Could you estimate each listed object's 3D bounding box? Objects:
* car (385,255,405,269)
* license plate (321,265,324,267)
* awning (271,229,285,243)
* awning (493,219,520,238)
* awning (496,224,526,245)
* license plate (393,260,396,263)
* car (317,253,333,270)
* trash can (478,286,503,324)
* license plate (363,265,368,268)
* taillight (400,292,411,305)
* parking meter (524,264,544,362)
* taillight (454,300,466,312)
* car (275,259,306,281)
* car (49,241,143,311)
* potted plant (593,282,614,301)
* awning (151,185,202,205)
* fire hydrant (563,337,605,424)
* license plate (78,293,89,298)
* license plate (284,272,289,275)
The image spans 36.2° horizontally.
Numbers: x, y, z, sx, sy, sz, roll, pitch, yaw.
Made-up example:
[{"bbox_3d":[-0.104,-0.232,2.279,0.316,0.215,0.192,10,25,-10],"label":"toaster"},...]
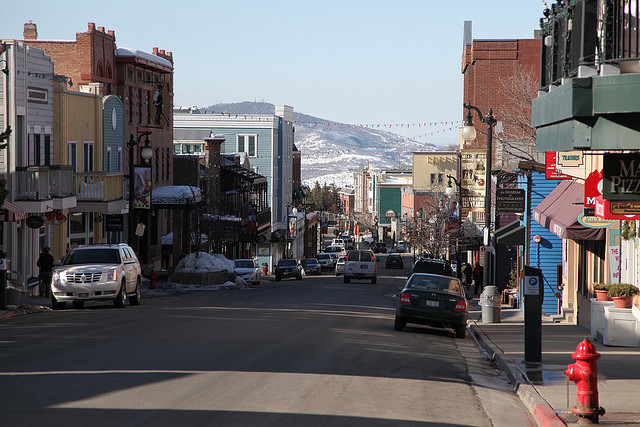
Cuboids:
[{"bbox_3d":[7.329,4.635,95.711,1.297,0.868,2.590,1,4,4],"label":"car"},{"bbox_3d":[0.226,4.541,86.344,0.167,0.166,0.266,-2,-1,-1],"label":"license plate"},{"bbox_3d":[-4.032,2.192,95.105,1.208,1.150,7.196,-2,-1,-1],"label":"awning"},{"bbox_3d":[8.332,0.600,43.578,0.916,0.289,1.035,-18,4,-7],"label":"awning"},{"bbox_3d":[7.703,0.936,39.080,0.611,0.560,1.535,3,-3,1],"label":"awning"},{"bbox_3d":[7.142,4.488,93.853,0.308,0.168,0.296,-1,-1,2],"label":"license plate"},{"bbox_3d":[0.458,4.160,85.887,1.078,0.955,1.908,-1,-8,2],"label":"car"},{"bbox_3d":[5.971,3.125,34.160,0.664,1.307,1.376,-2,-1,9],"label":"trash can"},{"bbox_3d":[2.714,3.117,58.476,0.202,0.140,0.043,0,-3,5],"label":"license plate"},{"bbox_3d":[2.624,2.570,29.823,0.305,0.240,0.516,0,-8,3],"label":"taillight"},{"bbox_3d":[5.493,2.555,25.065,0.473,2.522,0.587,-2,0,7],"label":"parking meter"},{"bbox_3d":[4.252,2.782,29.719,0.371,0.365,0.076,-2,0,-29],"label":"taillight"},{"bbox_3d":[-1.983,3.656,64.620,1.835,1.335,1.365,-2,-1,36],"label":"car"},{"bbox_3d":[-7.556,2.078,34.504,1.840,1.390,3.238,-1,-7,4],"label":"car"},{"bbox_3d":[8.398,2.275,29.123,0.476,0.412,0.474,6,-10,-26],"label":"potted plant"},{"bbox_3d":[-8.721,-1.187,59.819,2.953,1.137,6.065,-2,-1,-8],"label":"awning"},{"bbox_3d":[5.644,3.524,20.849,0.761,1.870,0.537,-2,0,13],"label":"fire hydrant"},{"bbox_3d":[-7.935,2.722,32.937,0.351,0.141,0.084,-2,0,-13],"label":"license plate"},{"bbox_3d":[-2.159,3.835,63.980,0.346,0.108,0.071,-2,-1,36],"label":"license plate"}]
